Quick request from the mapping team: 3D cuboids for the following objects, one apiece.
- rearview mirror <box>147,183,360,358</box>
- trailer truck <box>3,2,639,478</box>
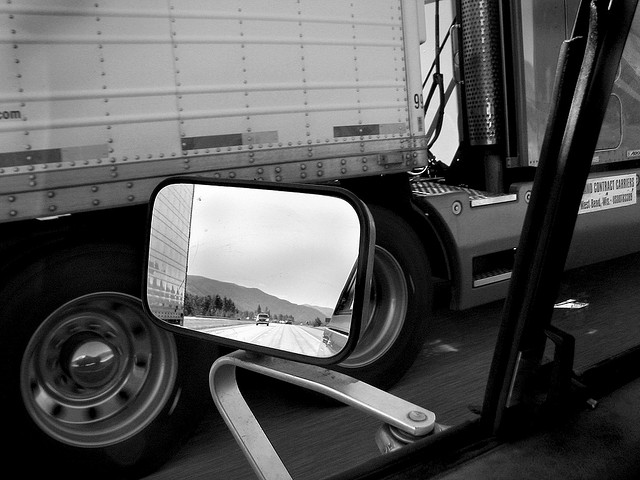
[{"bbox_3d":[-0.162,0.057,0.989,0.584,0.355,0.022,4,2,24],"label":"rearview mirror"},{"bbox_3d":[0.515,-0.379,5.151,6.963,3.556,2.332,-4,5,-40],"label":"trailer truck"}]
